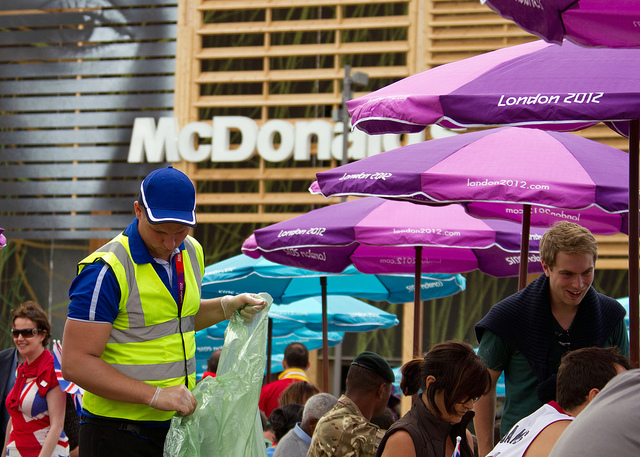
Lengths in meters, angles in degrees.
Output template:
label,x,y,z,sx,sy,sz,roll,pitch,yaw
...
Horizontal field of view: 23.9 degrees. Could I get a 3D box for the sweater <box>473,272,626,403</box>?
label,x,y,z,sx,sy,sz,roll,pitch,yaw
sweater,2.681,1.101,16.918,1.479,1.645,1.209,-1,-5,30

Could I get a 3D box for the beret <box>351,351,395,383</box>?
label,x,y,z,sx,sy,sz,roll,pitch,yaw
beret,0.599,1.446,16.567,0.359,0.147,0.350,27,-11,-36

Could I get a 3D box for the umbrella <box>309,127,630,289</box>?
label,x,y,z,sx,sy,sz,roll,pitch,yaw
umbrella,1.801,-0.250,18.161,2.474,1.521,2.423,-1,-3,-7

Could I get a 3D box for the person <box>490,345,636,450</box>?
label,x,y,z,sx,sy,sz,roll,pitch,yaw
person,2.511,1.711,15.419,1.243,1.292,0.968,19,-7,-16

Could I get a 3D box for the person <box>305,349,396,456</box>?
label,x,y,z,sx,sy,sz,roll,pitch,yaw
person,0.355,2.025,17.753,0.639,0.936,1.220,14,-5,-37
